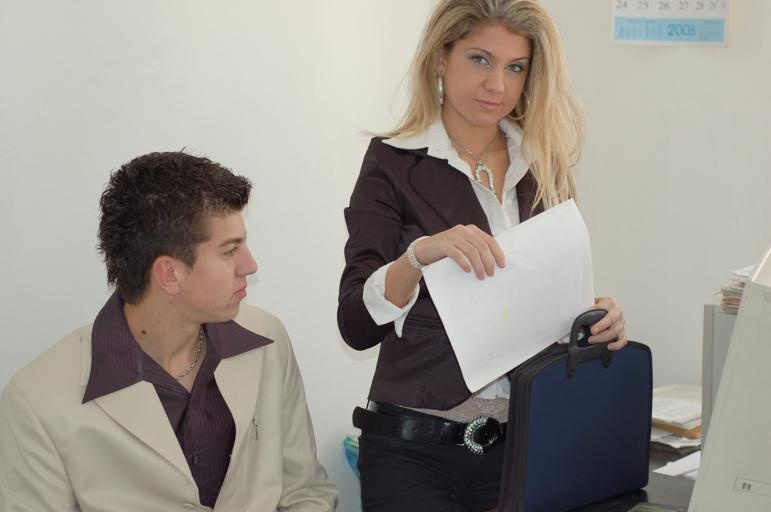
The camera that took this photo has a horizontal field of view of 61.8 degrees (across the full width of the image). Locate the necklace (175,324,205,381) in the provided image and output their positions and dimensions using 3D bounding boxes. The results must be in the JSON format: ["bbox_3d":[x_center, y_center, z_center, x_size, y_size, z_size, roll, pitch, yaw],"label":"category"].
[{"bbox_3d":[-0.520,0.269,1.747,0.089,0.125,0.033,4,-4,-25],"label":"necklace"}]

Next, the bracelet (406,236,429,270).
[{"bbox_3d":[0.073,-0.009,1.547,0.058,0.070,0.025,-12,3,-35],"label":"bracelet"}]
